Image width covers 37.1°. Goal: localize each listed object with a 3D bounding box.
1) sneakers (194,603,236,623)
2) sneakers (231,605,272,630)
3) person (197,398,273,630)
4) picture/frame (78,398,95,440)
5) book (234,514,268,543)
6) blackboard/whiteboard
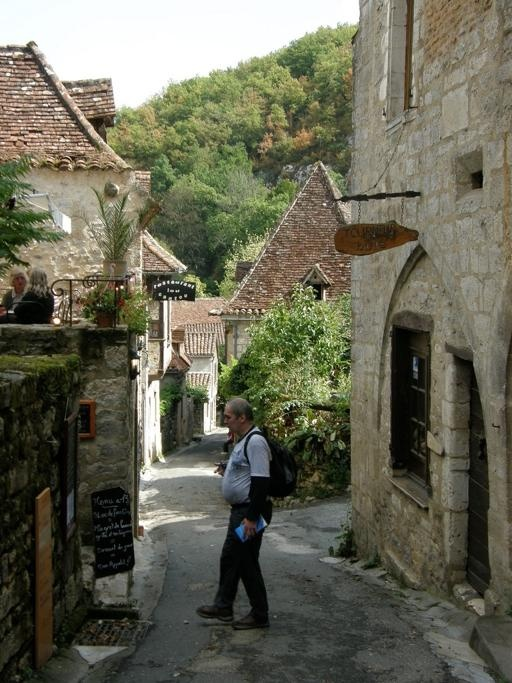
[{"bbox_3d":[-0.258,1.726,4.920,0.222,0.124,0.111,14,-4,7],"label":"sneakers"},{"bbox_3d":[-0.015,1.726,4.761,0.221,0.105,0.099,2,-6,-6],"label":"sneakers"},{"bbox_3d":[-0.079,1.084,4.840,0.472,1.435,0.300,-1,-3,43],"label":"person"},{"bbox_3d":[-1.337,0.628,6.129,0.128,0.319,0.100,2,-3,-13],"label":"picture/frame"},{"bbox_3d":[-0.028,1.128,4.723,0.165,0.168,0.044,-34,43,-26],"label":"book"},{"bbox_3d":[-1.114,1.502,5.994,0.332,0.703,0.198,2,-2,-12],"label":"blackboard/whiteboard"}]
